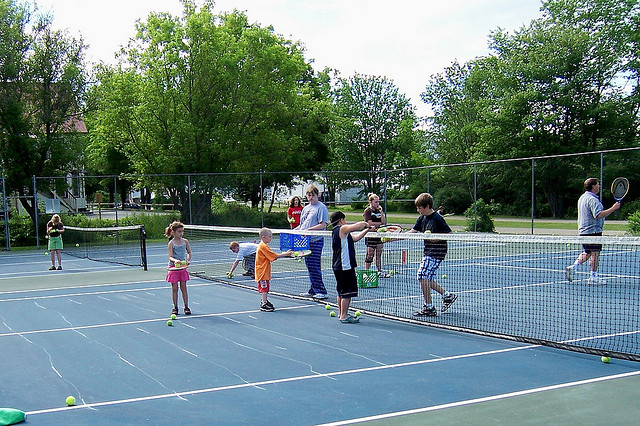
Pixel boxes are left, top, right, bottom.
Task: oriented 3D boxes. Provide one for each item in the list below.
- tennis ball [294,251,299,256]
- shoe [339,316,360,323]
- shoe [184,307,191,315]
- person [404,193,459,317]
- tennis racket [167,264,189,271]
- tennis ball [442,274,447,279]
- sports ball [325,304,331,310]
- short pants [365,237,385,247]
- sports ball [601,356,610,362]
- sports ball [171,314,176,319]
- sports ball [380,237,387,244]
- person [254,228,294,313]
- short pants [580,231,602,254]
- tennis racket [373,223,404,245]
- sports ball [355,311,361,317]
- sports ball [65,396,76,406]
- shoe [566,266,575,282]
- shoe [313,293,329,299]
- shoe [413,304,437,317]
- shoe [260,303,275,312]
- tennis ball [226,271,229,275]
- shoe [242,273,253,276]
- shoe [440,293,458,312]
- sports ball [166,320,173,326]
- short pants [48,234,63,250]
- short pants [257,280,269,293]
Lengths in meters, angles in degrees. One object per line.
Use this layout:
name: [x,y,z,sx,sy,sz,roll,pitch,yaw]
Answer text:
tennis ball: [-0.539,0.971,13.631,0.097,0.094,0.178,0,9,2]
shoe: [0.685,2.436,13.311,0.434,0.166,0.155,2,-8,-11]
shoe: [-3.194,2.351,14.013,0.149,0.152,0.208,-3,10,-13]
person: [2.621,0.942,13.537,1.004,2.809,1.118,1,10,13]
tennis racket: [-3.374,1.292,13.788,0.417,0.119,0.406,1,1,-8]
tennis ball: [3.535,1.807,16.491,0.188,0.117,0.181,0,3,0]
sports ball: [0.224,2.336,14.359,0.089,0.085,0.085,-1,42,1]
short pants: [1.542,0.843,16.665,0.613,0.283,0.480,3,10,19]
sports ball: [5.516,2.823,11.211,0.096,0.094,0.096,-9,6,1]
sports ball: [-3.474,2.459,13.773,0.095,0.078,0.076,-14,42,-4]
sports ball: [1.723,0.741,15.758,0.188,0.134,0.181,0,9,0]
person: [-1.203,1.329,14.580,0.797,2.042,1.474,-1,10,-3]
short pants: [6.599,0.708,14.126,0.628,0.427,0.379,0,3,22]
tennis racket: [1.812,0.562,15.545,0.714,0.219,0.872,-3,12,-2]
sports ball: [0.902,2.379,13.708,0.098,0.097,0.101,6,4,0]
sports ball: [-4.395,3.314,10.260,0.136,0.113,0.152,2,4,11]
shoe: [6.879,1.661,15.964,0.208,0.474,0.530,4,10,23]
shoe: [0.028,2.155,15.123,0.416,0.124,0.226,-4,10,-23]
shoe: [2.417,2.255,13.420,0.521,0.233,0.177,0,10,3]
shoe: [-1.297,2.305,14.240,0.377,0.166,0.143,0,-1,20]
tennis ball: [-3.007,1.952,18.856,0.100,0.096,0.122,-8,-13,43]
shoe: [-2.279,1.906,18.255,0.289,0.118,0.102,4,-10,13]
shoe: [3.007,2.088,13.654,0.391,0.476,0.307,3,11,21]
sports ball: [-3.445,2.524,13.310,0.102,0.083,0.110,-8,-4,-1]
short pants: [-9.409,1.051,20.668,0.231,0.558,0.483,5,11,32]
short pants: [-1.385,1.772,14.225,0.228,0.328,0.229,0,10,2]
